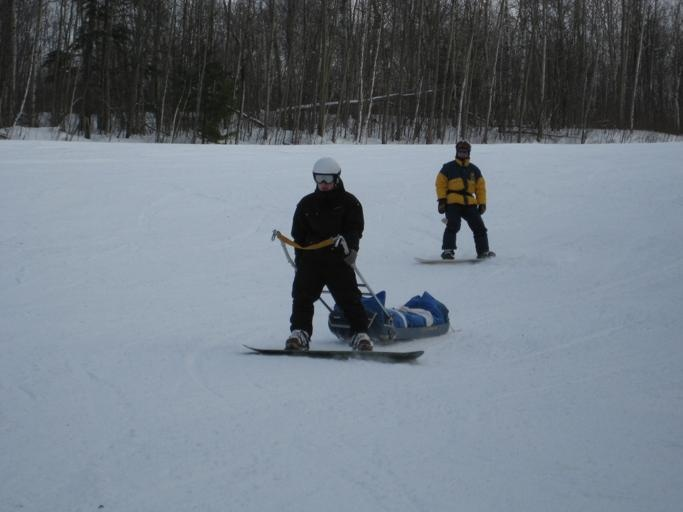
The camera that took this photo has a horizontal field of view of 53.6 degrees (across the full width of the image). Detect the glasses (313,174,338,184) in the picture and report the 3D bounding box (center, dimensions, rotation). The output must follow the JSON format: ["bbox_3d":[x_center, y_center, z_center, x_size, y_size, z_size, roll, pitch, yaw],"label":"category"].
[{"bbox_3d":[-0.161,-0.804,7.031,0.239,0.099,0.109,2,4,0],"label":"glasses"}]

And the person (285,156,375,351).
[{"bbox_3d":[-0.106,-0.016,7.057,0.860,2.026,0.634,1,4,-1],"label":"person"}]

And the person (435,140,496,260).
[{"bbox_3d":[1.933,-0.893,10.603,0.867,1.857,1.036,2,4,10],"label":"person"}]

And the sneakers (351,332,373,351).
[{"bbox_3d":[0.202,0.886,6.922,0.174,0.099,0.279,1,0,-6],"label":"sneakers"}]

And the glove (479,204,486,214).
[{"bbox_3d":[2.189,-0.730,10.490,0.108,0.199,0.122,-1,-3,9],"label":"glove"}]

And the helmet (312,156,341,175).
[{"bbox_3d":[-0.157,-0.943,7.057,0.309,0.194,0.200,0,4,-24],"label":"helmet"}]

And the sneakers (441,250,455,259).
[{"bbox_3d":[1.630,-0.027,10.345,0.171,0.192,0.114,0,12,11],"label":"sneakers"}]

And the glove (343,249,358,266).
[{"bbox_3d":[0.097,0.023,6.986,0.111,0.170,0.185,1,4,0],"label":"glove"}]
